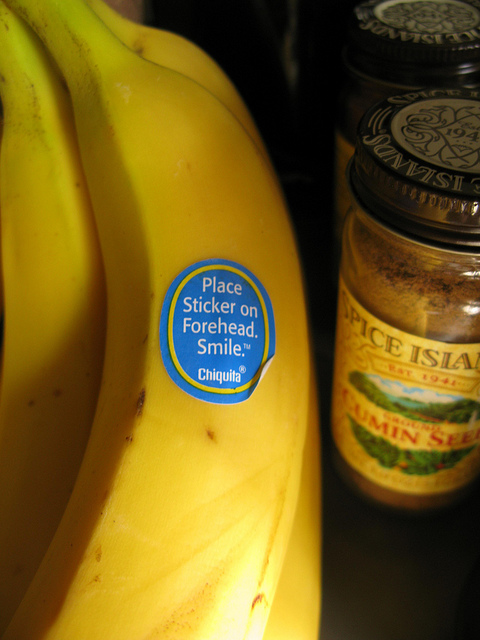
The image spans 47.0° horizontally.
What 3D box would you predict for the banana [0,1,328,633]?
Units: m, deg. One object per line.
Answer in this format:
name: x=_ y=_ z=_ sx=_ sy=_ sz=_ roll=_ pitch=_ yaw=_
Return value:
banana: x=-0.038 y=0.050 z=0.348 sx=0.153 sy=0.376 sz=0.201 roll=-4 pitch=7 yaw=8
